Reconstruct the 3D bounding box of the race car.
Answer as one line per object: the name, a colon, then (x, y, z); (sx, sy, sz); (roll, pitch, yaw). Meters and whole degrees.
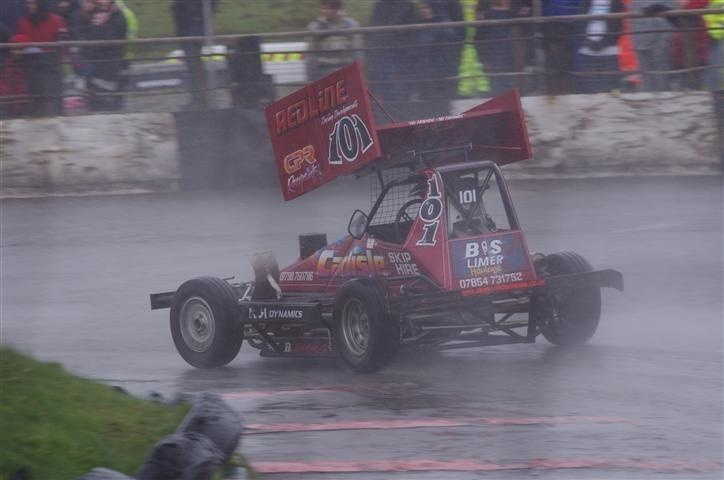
race car: (-0.118, -0.238, 21.548); (5.995, 3.066, 4.185); (1, 2, 38)
